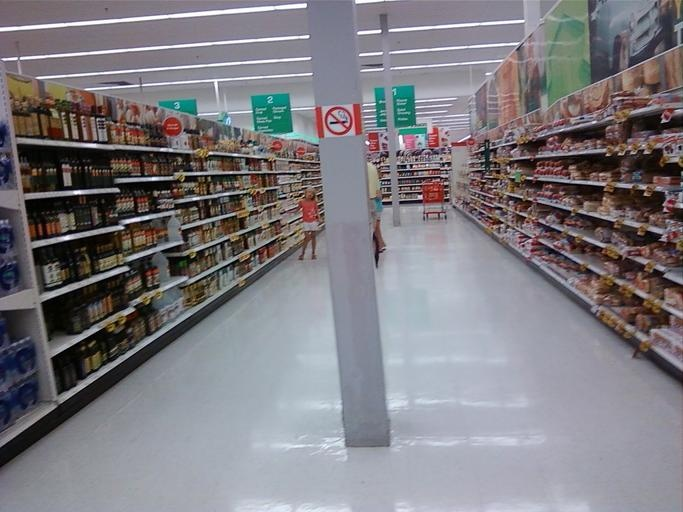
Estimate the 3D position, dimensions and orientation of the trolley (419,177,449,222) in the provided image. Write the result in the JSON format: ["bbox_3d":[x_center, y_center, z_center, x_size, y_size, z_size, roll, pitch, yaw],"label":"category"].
[{"bbox_3d":[3.326,-2.079,16.650,1.036,1.333,0.932,3,24,22],"label":"trolley"}]
